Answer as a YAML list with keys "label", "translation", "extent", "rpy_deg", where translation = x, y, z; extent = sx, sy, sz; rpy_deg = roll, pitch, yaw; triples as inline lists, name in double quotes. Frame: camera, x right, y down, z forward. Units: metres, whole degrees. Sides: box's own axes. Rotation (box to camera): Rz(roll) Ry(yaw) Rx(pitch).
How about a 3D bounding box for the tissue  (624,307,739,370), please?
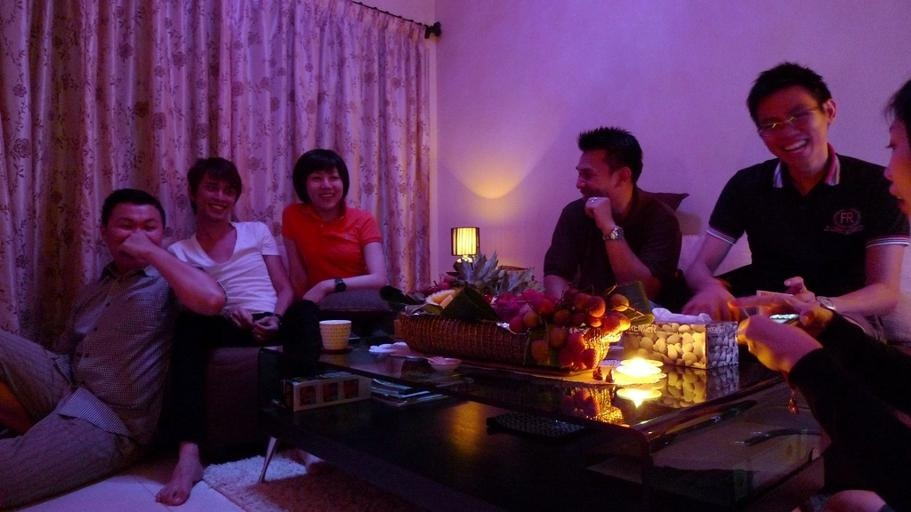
- label: "tissue "
  translation: [1.024, 0.396, 2.984]
  extent: [0.215, 0.190, 0.603]
  rpy_deg: [-1, -3, -31]

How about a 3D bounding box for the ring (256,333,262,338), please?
- label: "ring"
  translation: [-1.129, 0.422, 3.388]
  extent: [0.038, 0.015, 0.007]
  rpy_deg: [1, 7, 19]

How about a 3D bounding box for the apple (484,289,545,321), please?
- label: "apple"
  translation: [0.253, 0.187, 2.822]
  extent: [0.197, 0.085, 0.145]
  rpy_deg: [-19, 9, -30]

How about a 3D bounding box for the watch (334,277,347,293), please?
- label: "watch"
  translation: [-0.810, 0.189, 4.068]
  extent: [0.089, 0.089, 0.065]
  rpy_deg: [-14, -5, 30]

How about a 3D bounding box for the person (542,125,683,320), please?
- label: "person"
  translation: [1.028, -0.222, 4.041]
  extent: [1.066, 1.096, 0.878]
  rpy_deg: [-5, 9, -37]

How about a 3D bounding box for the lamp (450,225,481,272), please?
- label: "lamp"
  translation: [0.036, -0.046, 5.440]
  extent: [0.284, 0.426, 0.275]
  rpy_deg: [0, 7, 12]

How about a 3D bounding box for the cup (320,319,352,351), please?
- label: "cup"
  translation: [-0.653, 0.392, 3.198]
  extent: [0.158, 0.107, 0.138]
  rpy_deg: [-1, -8, 8]

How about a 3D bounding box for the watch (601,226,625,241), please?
- label: "watch"
  translation: [0.945, -0.128, 3.811]
  extent: [0.100, 0.089, 0.094]
  rpy_deg: [11, 5, 1]
